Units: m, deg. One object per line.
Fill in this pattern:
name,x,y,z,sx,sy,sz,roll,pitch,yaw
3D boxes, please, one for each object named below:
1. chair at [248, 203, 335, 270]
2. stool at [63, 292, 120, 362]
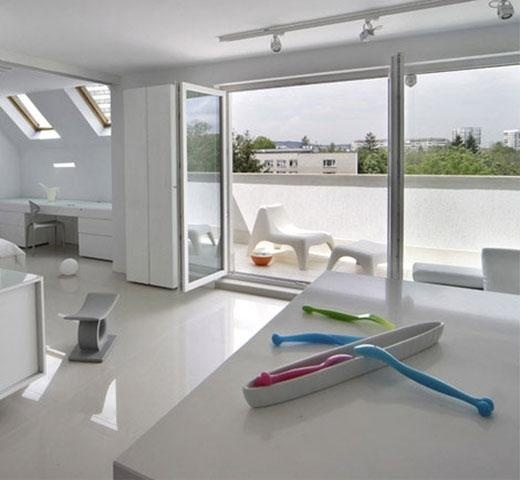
chair,0.440,-0.111,5.797,1.013,0.759,0.867,6,12,34
stool,-1.247,0.648,3.169,0.271,0.407,0.562,3,5,2
